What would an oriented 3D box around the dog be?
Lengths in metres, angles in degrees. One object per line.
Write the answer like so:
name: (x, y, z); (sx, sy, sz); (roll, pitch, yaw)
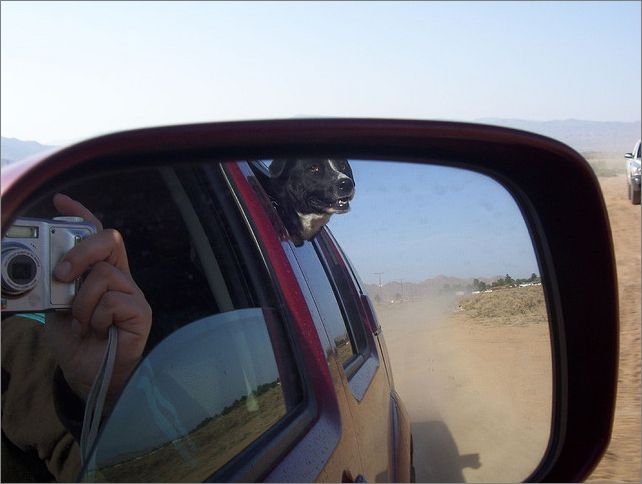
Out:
dog: (-0.037, -0.108, 1.126); (0.225, 0.156, 0.163); (-7, 6, 40)
